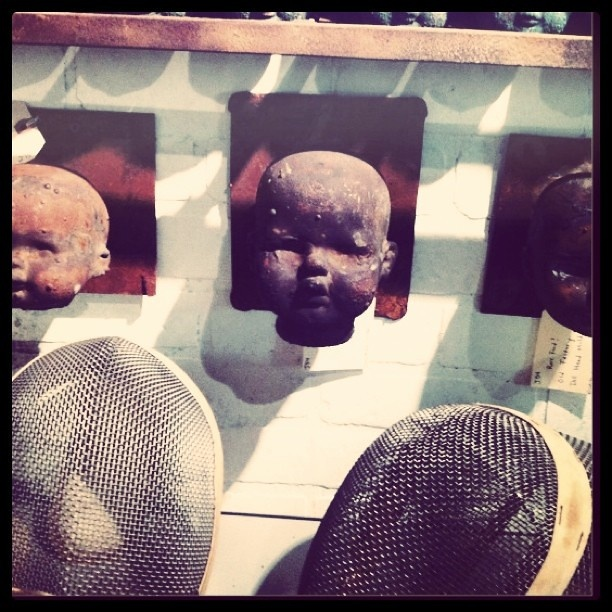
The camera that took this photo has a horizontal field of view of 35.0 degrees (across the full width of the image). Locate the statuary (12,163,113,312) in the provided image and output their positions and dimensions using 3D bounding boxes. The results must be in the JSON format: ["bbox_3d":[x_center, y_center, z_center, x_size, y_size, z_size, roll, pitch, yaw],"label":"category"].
[{"bbox_3d":[-0.746,-0.214,2.953,0.285,0.285,0.347,0,53,-9],"label":"statuary"}]

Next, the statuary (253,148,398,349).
[{"bbox_3d":[0.024,-0.175,2.985,0.473,0.452,0.680,3,95,5],"label":"statuary"}]

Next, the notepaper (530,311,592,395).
[{"bbox_3d":[0.792,0.146,3.046,0.202,0.024,0.259,7,62,15],"label":"notepaper"}]

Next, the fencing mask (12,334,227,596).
[{"bbox_3d":[-0.574,0.473,2.874,0.647,0.341,0.683,7,53,-5],"label":"fencing mask"}]
